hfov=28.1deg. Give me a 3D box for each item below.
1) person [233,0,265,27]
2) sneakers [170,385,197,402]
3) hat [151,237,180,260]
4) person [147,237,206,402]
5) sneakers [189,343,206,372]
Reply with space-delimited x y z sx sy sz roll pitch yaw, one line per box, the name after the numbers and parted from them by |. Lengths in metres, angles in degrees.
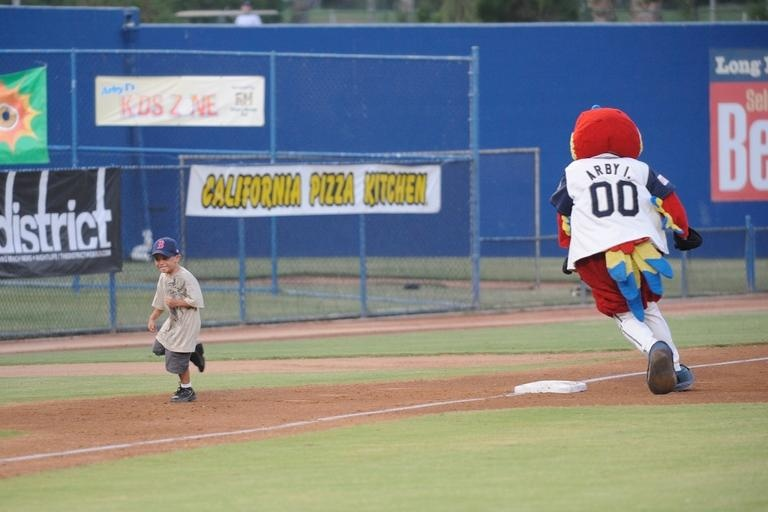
-2.744 -4.828 30.559 0.571 0.590 1.211 -2 3 -5 | person
-2.702 1.847 20.557 0.333 0.187 0.169 3 4 3 | sneakers
-2.969 -0.111 20.879 0.279 0.198 0.383 1 -2 9 | hat
-2.827 0.840 20.797 0.662 2.164 0.738 -4 4 -25 | person
-2.588 1.394 20.899 0.172 0.429 0.215 -12 -16 38 | sneakers
